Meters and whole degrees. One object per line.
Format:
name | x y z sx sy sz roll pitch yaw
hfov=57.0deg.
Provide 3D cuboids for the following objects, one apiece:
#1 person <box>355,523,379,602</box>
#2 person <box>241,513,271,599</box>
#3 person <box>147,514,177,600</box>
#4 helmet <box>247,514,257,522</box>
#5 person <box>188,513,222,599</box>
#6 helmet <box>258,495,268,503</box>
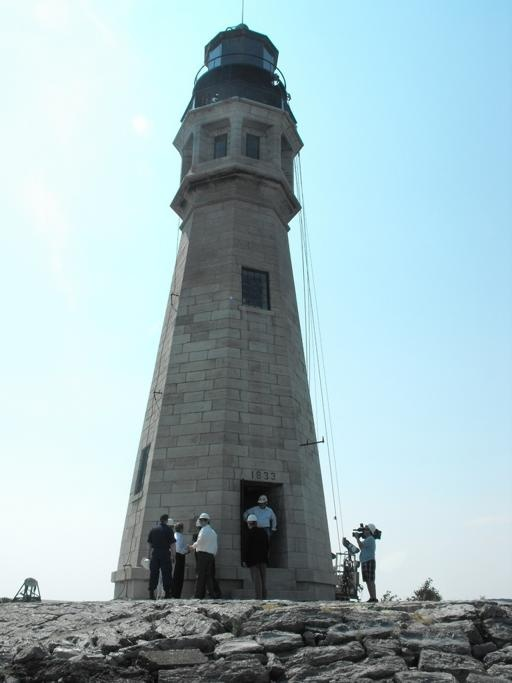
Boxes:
person | 2.316 4.563 9.761 0.517 1.450 1.595 -4 -10 12
person | 0.030 4.860 10.539 0.499 1.929 0.907 -3 -9 2
person | -1.958 4.575 9.860 0.792 1.742 0.463 -10 -12 39
helmet | -0.085 3.908 10.350 0.124 0.145 0.169 -17 -30 36
person | -1.068 4.534 9.674 0.472 1.800 1.095 -3 -9 2
helmet | 0.169 3.803 11.294 0.298 0.194 0.425 -1 -19 8
